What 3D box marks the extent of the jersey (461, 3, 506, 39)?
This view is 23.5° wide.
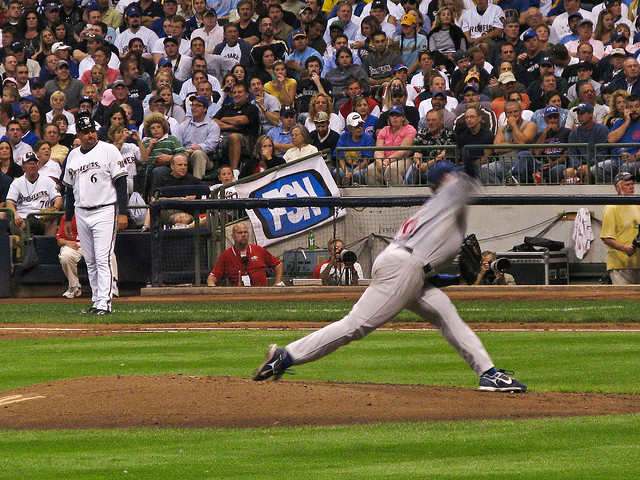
[{"bbox_3d":[3.445,-4.616,32.275,0.840,0.652,0.421,-1,-14,22],"label":"jersey"}]

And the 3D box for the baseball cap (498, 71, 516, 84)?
[{"bbox_3d":[3.649,-3.212,30.018,0.311,0.165,0.441,-2,3,2],"label":"baseball cap"}]

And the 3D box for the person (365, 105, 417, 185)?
[{"bbox_3d":[1.390,-1.752,29.888,1.104,1.788,0.924,-13,16,-38],"label":"person"}]

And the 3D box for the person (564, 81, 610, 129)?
[{"bbox_3d":[5.139,-2.633,29.543,0.833,0.870,0.895,5,15,16],"label":"person"}]

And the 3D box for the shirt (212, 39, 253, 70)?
[{"bbox_3d":[-1.892,-4.019,32.990,0.910,0.724,0.470,9,17,15],"label":"shirt"}]

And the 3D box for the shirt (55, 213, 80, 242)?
[{"bbox_3d":[-4.612,-0.215,27.799,0.623,0.567,0.214,3,3,9],"label":"shirt"}]

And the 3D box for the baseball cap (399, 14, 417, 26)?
[{"bbox_3d":[1.836,-4.620,31.896,0.299,0.229,0.270,1,14,2],"label":"baseball cap"}]

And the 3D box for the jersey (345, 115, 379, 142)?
[{"bbox_3d":[0.726,-2.266,30.439,0.558,0.383,0.898,1,-4,-4],"label":"jersey"}]

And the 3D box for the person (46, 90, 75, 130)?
[{"bbox_3d":[-5.354,-2.713,31.755,0.720,0.793,0.503,-8,-5,11],"label":"person"}]

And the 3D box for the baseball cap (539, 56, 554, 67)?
[{"bbox_3d":[4.479,-3.594,30.441,0.265,0.208,0.409,-4,-8,7],"label":"baseball cap"}]

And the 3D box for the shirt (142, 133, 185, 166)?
[{"bbox_3d":[-3.066,-1.734,29.647,0.990,0.716,0.518,-2,-7,8],"label":"shirt"}]

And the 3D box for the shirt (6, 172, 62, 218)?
[{"bbox_3d":[-5.383,-0.844,29.311,1.370,1.035,0.714,0,-3,-4],"label":"shirt"}]

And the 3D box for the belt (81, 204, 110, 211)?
[{"bbox_3d":[-3.638,-0.539,24.912,0.394,0.099,0.047,-1,15,-7],"label":"belt"}]

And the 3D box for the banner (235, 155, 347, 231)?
[{"bbox_3d":[-0.581,-0.773,29.696,2.245,1.506,0.047,-22,10,-37],"label":"banner"}]

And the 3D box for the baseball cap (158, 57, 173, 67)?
[{"bbox_3d":[-3.339,-3.875,33.082,0.310,0.167,0.351,-1,14,-5],"label":"baseball cap"}]

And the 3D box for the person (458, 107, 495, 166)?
[{"bbox_3d":[2.931,-1.989,29.353,0.776,1.115,0.682,-2,0,32],"label":"person"}]

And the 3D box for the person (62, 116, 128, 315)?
[{"bbox_3d":[-3.604,-0.428,24.950,0.935,3.152,1.129,-4,15,-17],"label":"person"}]

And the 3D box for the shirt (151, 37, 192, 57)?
[{"bbox_3d":[-3.174,-4.340,33.902,0.646,0.608,0.243,-1,-18,7],"label":"shirt"}]

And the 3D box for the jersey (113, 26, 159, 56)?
[{"bbox_3d":[-4.113,-4.448,34.678,1.147,0.891,0.593,-3,12,7],"label":"jersey"}]

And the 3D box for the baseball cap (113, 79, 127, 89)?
[{"bbox_3d":[-4.077,-3.208,31.268,0.381,0.187,0.593,-1,1,-8],"label":"baseball cap"}]

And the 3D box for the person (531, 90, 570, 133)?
[{"bbox_3d":[4.457,-2.479,29.662,0.708,0.992,0.422,-9,-27,17],"label":"person"}]

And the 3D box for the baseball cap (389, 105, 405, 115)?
[{"bbox_3d":[1.492,-2.549,29.828,0.294,0.164,0.248,1,14,1],"label":"baseball cap"}]

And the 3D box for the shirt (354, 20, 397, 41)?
[{"bbox_3d":[1.285,-4.423,32.597,0.565,0.517,0.232,24,19,34],"label":"shirt"}]

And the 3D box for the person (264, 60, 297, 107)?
[{"bbox_3d":[-0.881,-3.169,31.494,0.850,1.102,0.674,0,0,8],"label":"person"}]

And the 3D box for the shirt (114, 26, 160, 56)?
[{"bbox_3d":[-4.135,-4.437,34.623,1.151,0.875,0.593,-2,1,-2],"label":"shirt"}]

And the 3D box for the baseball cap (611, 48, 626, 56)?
[{"bbox_3d":[5.835,-3.719,30.027,0.278,0.138,0.334,3,14,9],"label":"baseball cap"}]

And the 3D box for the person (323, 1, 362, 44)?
[{"bbox_3d":[0.501,-4.723,33.147,0.841,1.080,0.387,-1,-29,9],"label":"person"}]

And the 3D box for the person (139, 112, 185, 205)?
[{"bbox_3d":[-3.121,-1.516,29.439,1.026,1.843,1.019,-2,4,11],"label":"person"}]

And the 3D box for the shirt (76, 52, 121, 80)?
[{"bbox_3d":[-4.743,-3.771,33.026,0.821,0.808,0.448,1,-2,3],"label":"shirt"}]

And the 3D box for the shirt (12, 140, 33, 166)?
[{"bbox_3d":[-5.921,-1.783,30.341,0.403,0.521,0.198,-1,-12,2],"label":"shirt"}]

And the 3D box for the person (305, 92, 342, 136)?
[{"bbox_3d":[0.021,-2.446,30.461,0.695,1.039,0.614,-3,1,17],"label":"person"}]

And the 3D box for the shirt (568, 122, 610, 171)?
[{"bbox_3d":[5.104,-1.825,29.231,0.803,0.936,0.522,-1,-1,25],"label":"shirt"}]

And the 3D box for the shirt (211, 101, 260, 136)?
[{"bbox_3d":[-1.674,-2.269,30.570,1.046,0.739,0.628,-3,-6,20],"label":"shirt"}]

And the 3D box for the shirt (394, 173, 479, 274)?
[{"bbox_3d":[1.632,-0.218,20.554,0.985,1.381,0.444,37,4,3],"label":"shirt"}]

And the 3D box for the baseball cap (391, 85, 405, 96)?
[{"bbox_3d":[1.538,-2.968,30.149,0.233,0.202,0.156,1,14,3],"label":"baseball cap"}]

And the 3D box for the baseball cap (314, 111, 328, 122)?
[{"bbox_3d":[0.024,-2.457,30.167,0.223,0.148,0.296,1,4,8],"label":"baseball cap"}]

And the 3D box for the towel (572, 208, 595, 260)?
[{"bbox_3d":[5.061,-0.118,29.626,0.369,0.974,0.392,9,17,29],"label":"towel"}]

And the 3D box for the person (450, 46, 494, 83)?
[{"bbox_3d":[3.102,-3.752,31.094,1.029,0.563,0.454,-10,12,-4],"label":"person"}]

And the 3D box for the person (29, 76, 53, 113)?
[{"bbox_3d":[-5.943,-3.181,32.312,0.556,0.514,1.118,-3,14,-12],"label":"person"}]

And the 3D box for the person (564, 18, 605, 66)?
[{"bbox_3d":[5.330,-3.861,31.180,0.818,1.335,0.770,2,-5,13],"label":"person"}]
